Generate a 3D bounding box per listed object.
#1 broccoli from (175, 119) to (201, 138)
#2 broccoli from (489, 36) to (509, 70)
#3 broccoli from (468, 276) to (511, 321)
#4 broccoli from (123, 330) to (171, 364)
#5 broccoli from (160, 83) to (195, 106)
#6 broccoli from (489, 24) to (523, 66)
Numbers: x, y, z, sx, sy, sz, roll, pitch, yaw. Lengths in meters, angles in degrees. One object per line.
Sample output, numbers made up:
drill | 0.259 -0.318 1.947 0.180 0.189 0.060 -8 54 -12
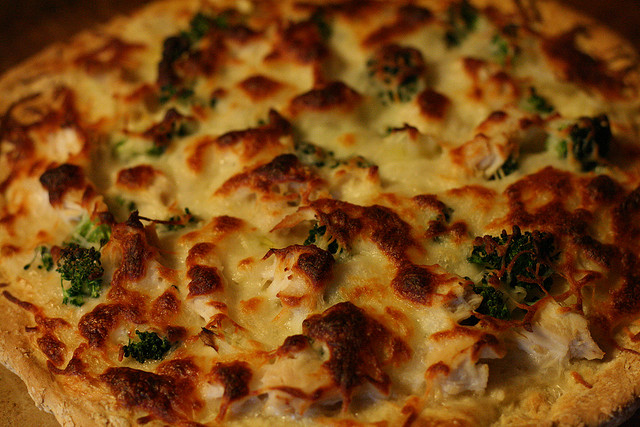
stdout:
broccoli | -1.298 -0.836 8.509 0.185 0.060 0.199 4 77 -26
broccoli | 1.794 -1.610 8.632 0.196 0.073 0.338 -1 77 17
broccoli | 1.453 0.748 7.477 0.232 0.096 0.375 -23 67 -28
broccoli | -1.478 1.154 7.411 0.258 0.295 0.149 -30 116 -27
broccoli | -1.429 -1.195 8.627 0.251 0.063 0.231 9 69 10
broccoli | 1.814 -1.673 8.780 0.272 0.098 0.401 3 78 6
